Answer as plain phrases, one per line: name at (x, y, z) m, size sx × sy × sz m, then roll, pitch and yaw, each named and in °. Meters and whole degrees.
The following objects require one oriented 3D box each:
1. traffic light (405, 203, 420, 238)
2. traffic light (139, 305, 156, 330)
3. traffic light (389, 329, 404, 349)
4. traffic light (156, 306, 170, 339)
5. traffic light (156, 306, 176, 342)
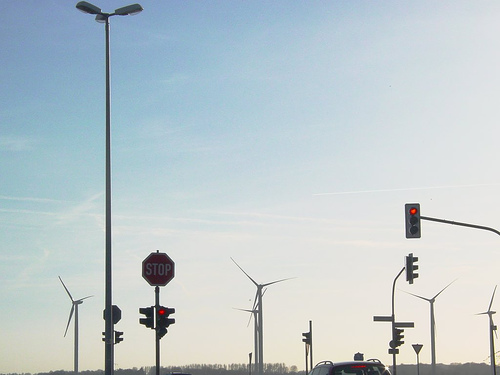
traffic light at (6.924, 1.448, 42.557) m, size 0.638 × 1.806 × 0.163 m, roll -4°, pitch -37°, yaw 13°
traffic light at (-4.451, 5.660, 44.350) m, size 0.732 × 0.951 × 1.240 m, roll 5°, pitch -19°, yaw -15°
traffic light at (8.920, 9.031, 60.404) m, size 0.730 × 1.097 × 1.962 m, roll 1°, pitch -19°, yaw -1°
traffic light at (-3.874, 5.963, 44.551) m, size 0.571 × 1.375 × 0.879 m, roll 14°, pitch -21°, yaw -37°
traffic light at (-3.813, 5.992, 44.599) m, size 0.762 × 1.354 × 0.507 m, roll 3°, pitch -16°, yaw -7°
